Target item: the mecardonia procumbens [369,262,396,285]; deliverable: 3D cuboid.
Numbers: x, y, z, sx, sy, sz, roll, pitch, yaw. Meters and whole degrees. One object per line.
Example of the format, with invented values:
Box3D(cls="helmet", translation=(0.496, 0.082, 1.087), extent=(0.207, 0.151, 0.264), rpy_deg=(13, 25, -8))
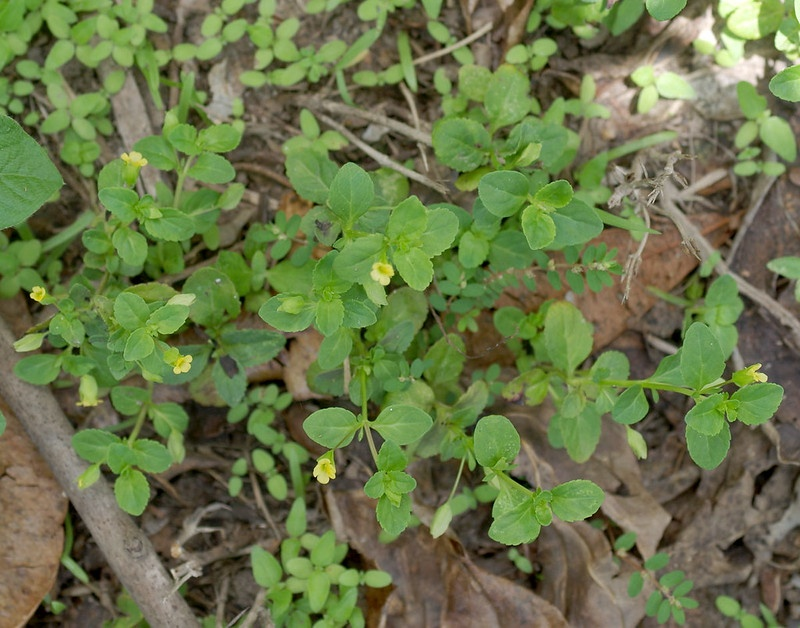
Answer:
Box3D(cls="mecardonia procumbens", translation=(-0.097, -0.216, 3.578), extent=(0.108, 0.060, 0.099), rpy_deg=(26, 67, 24))
